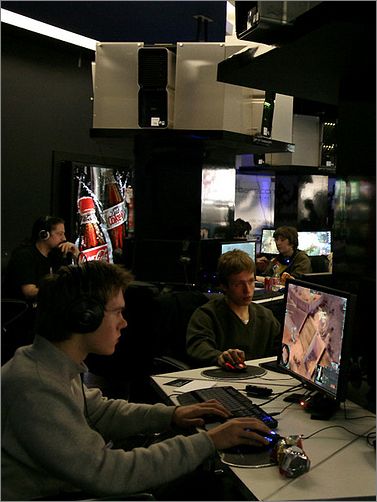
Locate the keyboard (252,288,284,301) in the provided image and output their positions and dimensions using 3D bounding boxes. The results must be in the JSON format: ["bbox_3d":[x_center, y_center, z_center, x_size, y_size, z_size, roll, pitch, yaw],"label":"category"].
[{"bbox_3d":[0.706,0.385,3.659,0.215,0.013,0.247,3,9,39],"label":"keyboard"}]

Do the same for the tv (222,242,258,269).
[{"bbox_3d":[0.339,0.016,2.832,0.239,0.138,0.010,-4,4,-45],"label":"tv"}]

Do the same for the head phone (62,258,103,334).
[{"bbox_3d":[-0.268,0.130,1.096,0.083,0.184,0.153,-1,-20,-10],"label":"head phone"}]

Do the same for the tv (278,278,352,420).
[{"bbox_3d":[0.427,0.345,1.396,0.121,0.368,0.330,8,18,-17],"label":"tv"}]

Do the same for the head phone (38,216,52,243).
[{"bbox_3d":[-1.219,-0.181,3.479,0.076,0.195,0.207,3,3,-3],"label":"head phone"}]

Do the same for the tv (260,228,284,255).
[{"bbox_3d":[1.162,-0.138,5.743,0.048,0.430,0.380,4,-6,-32],"label":"tv"}]
